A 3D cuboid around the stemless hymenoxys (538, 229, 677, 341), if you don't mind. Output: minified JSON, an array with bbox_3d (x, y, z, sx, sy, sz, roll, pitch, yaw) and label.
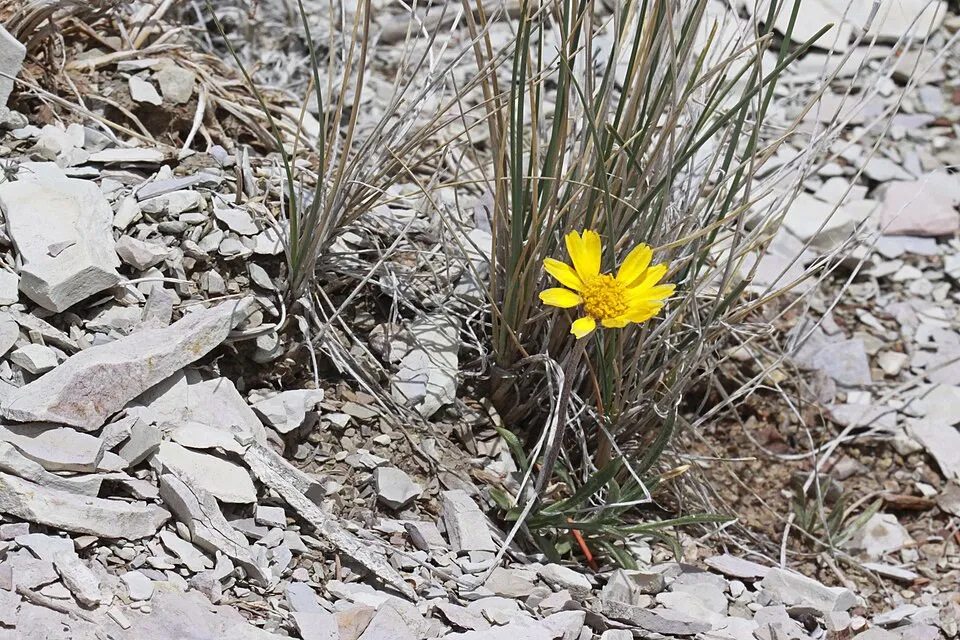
[{"bbox_3d":[0.313,-0.089,2.150,0.369,0.143,0.377,-7,27,-30],"label":"stemless hymenoxys"}]
